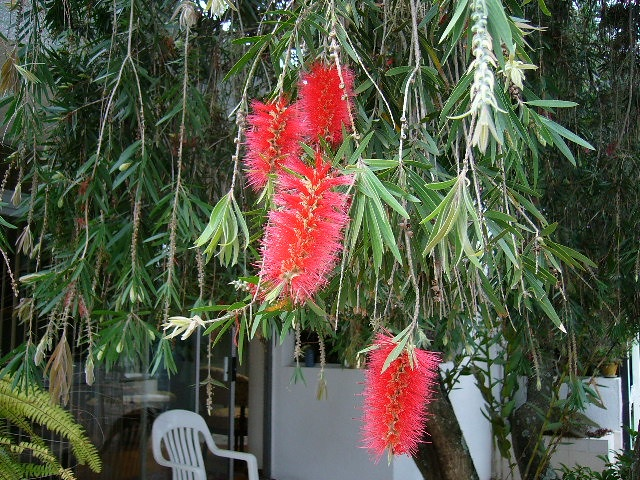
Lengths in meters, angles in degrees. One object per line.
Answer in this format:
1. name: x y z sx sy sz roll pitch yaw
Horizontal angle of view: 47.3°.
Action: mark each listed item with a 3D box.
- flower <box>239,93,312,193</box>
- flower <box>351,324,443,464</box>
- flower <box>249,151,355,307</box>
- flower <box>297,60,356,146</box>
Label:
1. flower: -0.115 -0.219 1.856 0.134 0.238 0.163 5 -29 -5
2. flower: 0.196 0.395 1.834 0.158 0.342 0.169 11 -8 -4
3. flower: -0.037 -0.026 1.692 0.168 0.416 0.204 18 -16 -13
4. flower: 0.007 -0.336 1.869 0.120 0.229 0.128 3 4 2
